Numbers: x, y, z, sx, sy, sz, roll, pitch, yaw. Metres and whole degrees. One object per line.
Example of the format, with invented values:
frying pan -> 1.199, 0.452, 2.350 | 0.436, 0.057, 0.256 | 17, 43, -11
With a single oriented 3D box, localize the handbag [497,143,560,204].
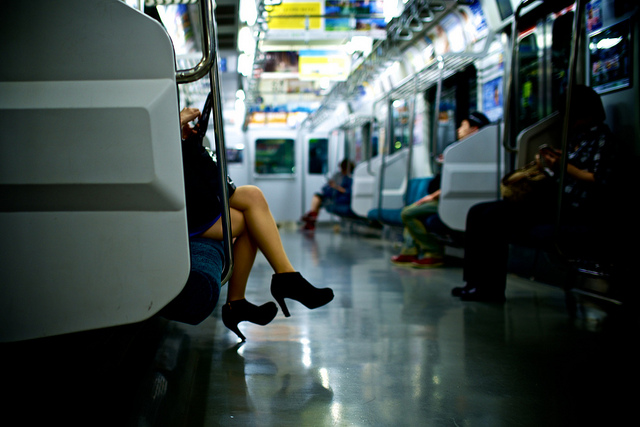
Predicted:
handbag -> 1.453, -0.277, 3.673 | 0.439, 0.278, 0.164 | -30, -34, 25

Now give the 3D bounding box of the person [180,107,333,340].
person -> -0.378, 0.119, 2.758 | 0.623, 1.309, 0.662 | 2, 6, 28

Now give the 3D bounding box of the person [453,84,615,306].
person -> 1.492, -0.117, 3.734 | 1.017, 1.555, 0.478 | 2, 7, 29

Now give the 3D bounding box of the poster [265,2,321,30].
poster -> -0.351, -2.877, 7.581 | 0.837, 0.474, 0.108 | 1, 18, 7

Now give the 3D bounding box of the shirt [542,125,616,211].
shirt -> 1.829, -0.319, 3.547 | 0.288, 0.568, 0.359 | 2, 6, 28

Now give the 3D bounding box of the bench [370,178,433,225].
bench -> 1.078, -0.170, 6.999 | 0.554, 0.681, 1.010 | 3, -1, -2
